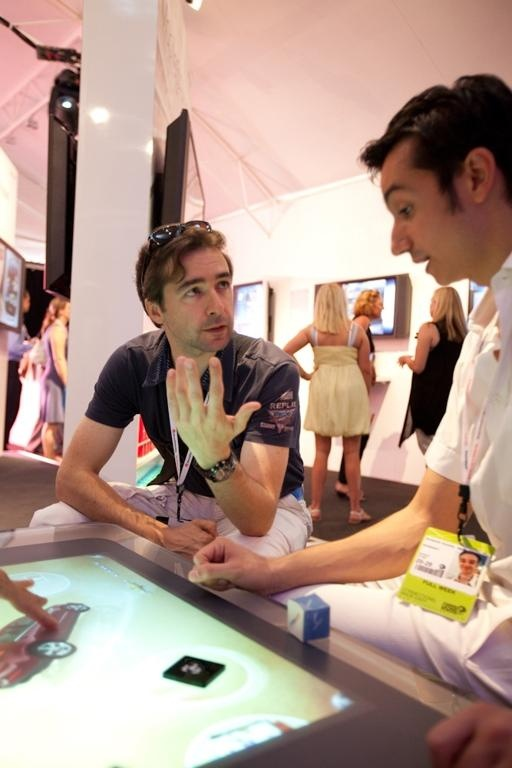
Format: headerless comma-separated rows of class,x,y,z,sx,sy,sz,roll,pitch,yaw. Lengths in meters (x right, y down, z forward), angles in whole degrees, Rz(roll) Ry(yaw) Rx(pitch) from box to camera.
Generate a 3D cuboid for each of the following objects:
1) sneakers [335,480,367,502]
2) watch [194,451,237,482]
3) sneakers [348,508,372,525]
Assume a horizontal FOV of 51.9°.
sneakers,0.732,0.845,4.090,0.270,0.114,0.099,0,1,10
watch,-0.075,0.173,1.116,0.075,0.052,0.083,-7,13,17
sneakers,0.659,0.826,3.304,0.066,0.065,0.143,1,3,30
